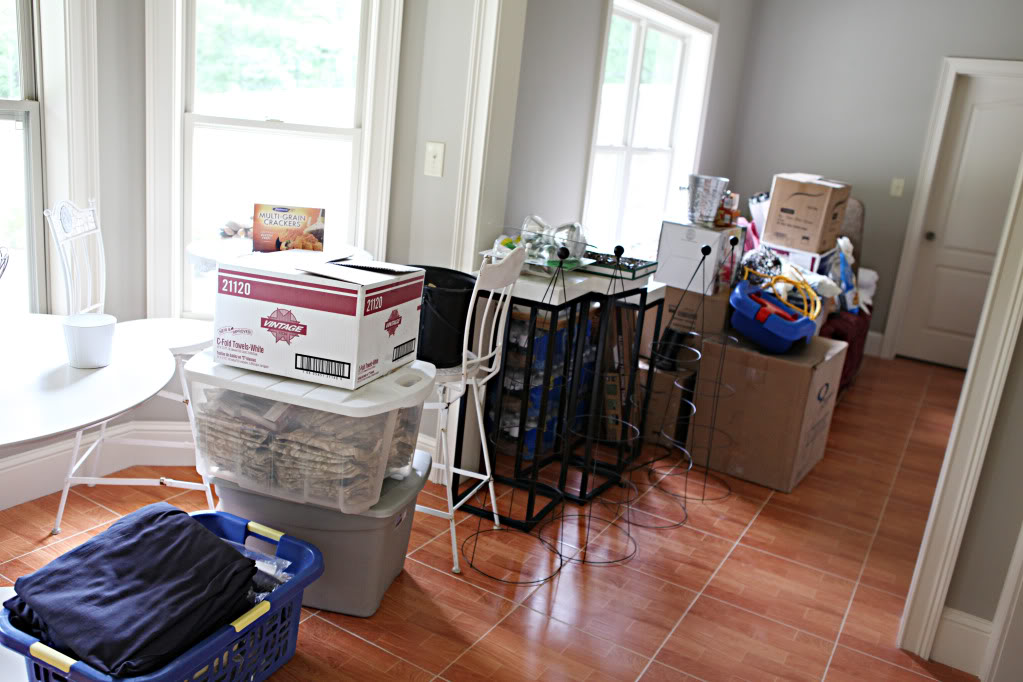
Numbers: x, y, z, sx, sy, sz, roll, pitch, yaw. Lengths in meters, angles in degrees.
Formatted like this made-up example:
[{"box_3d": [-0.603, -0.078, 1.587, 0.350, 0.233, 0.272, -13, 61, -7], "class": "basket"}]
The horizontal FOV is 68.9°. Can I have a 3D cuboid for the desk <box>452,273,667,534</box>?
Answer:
[{"box_3d": [0.204, 0.311, 3.638, 0.336, 0.965, 1.018, 12, 21, 24], "class": "desk"}]
